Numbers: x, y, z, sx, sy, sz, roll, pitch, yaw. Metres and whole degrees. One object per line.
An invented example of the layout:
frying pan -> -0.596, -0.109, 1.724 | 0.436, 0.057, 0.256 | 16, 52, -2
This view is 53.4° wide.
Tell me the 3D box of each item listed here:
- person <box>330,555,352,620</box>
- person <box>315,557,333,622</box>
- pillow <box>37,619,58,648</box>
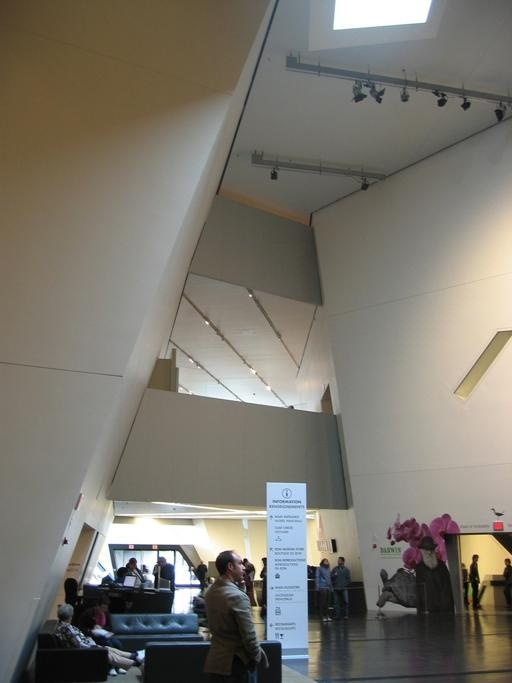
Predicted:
person -> 2.005, 5.852, 12.148 | 0.423, 1.281, 1.562 | -1, -23, 8
person -> 1.549, 5.640, 11.570 | 0.361, 1.255, 0.595 | 0, -20, 7
pillow -> -2.275, 3.200, 5.554 | 0.143, 0.209, 0.515 | -3, -18, -10
